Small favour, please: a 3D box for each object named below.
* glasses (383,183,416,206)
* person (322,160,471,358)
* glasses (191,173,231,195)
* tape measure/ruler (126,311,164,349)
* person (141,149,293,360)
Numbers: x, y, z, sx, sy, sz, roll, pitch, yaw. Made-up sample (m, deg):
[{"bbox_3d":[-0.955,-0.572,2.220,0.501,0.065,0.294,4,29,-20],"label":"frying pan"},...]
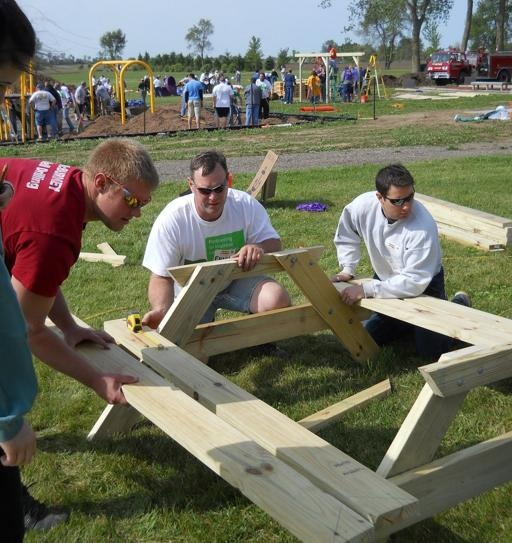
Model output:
[{"bbox_3d":[0.932,-0.493,3.780,0.155,0.044,0.147,-12,23,-17],"label":"glasses"},{"bbox_3d":[0.910,-0.177,4.133,0.784,1.419,0.985,-2,3,-34],"label":"person"},{"bbox_3d":[-0.280,-0.569,3.889,0.212,0.111,0.068,-7,19,-21],"label":"glasses"},{"bbox_3d":[-0.633,0.325,3.256,0.105,0.055,0.382,-8,30,-34],"label":"tape measure/ruler"},{"bbox_3d":[-0.257,-0.130,4.067,1.064,1.217,1.005,-6,33,-15],"label":"person"}]
